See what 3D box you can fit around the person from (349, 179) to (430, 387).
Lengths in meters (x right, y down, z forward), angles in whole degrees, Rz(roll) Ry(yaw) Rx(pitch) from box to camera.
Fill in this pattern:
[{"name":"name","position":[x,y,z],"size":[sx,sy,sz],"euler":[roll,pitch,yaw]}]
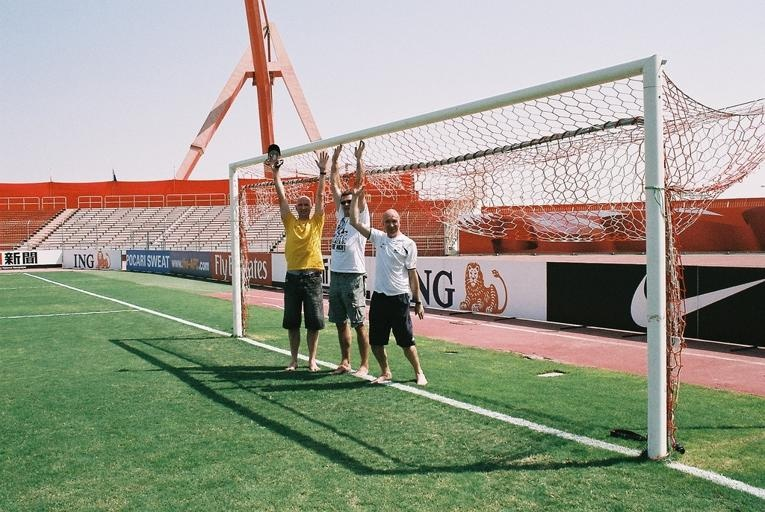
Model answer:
[{"name":"person","position":[0.106,0.386,6.916],"size":[0.951,2.520,0.671],"euler":[0,10,3]}]

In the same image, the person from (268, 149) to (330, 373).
[{"name":"person","position":[-1.121,0.089,7.686],"size":[0.727,3.067,1.114],"euler":[-2,10,-11]}]
